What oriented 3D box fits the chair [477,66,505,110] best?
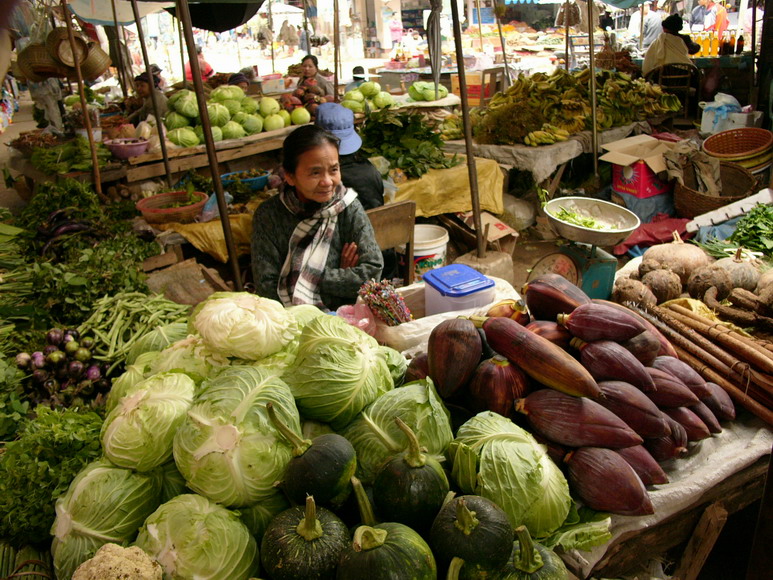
[{"bbox_3d":[1.978,-3.685,9.455,0.426,0.602,2.169,1,18,13],"label":"chair"}]

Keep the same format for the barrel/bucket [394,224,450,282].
[{"bbox_3d":[0.354,-0.417,5.101,0.531,0.501,0.535,-1,21,0],"label":"barrel/bucket"}]

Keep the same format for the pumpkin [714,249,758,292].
[{"bbox_3d":[2.548,-0.131,3.726,0.254,0.258,0.256,-12,23,-35],"label":"pumpkin"}]

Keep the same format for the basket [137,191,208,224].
[{"bbox_3d":[-2.111,-0.817,5.002,0.459,0.169,0.454,-15,26,-25],"label":"basket"}]

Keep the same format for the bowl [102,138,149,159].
[{"bbox_3d":[-2.941,-1.587,5.806,0.454,0.222,0.304,-8,18,-18],"label":"bowl"}]

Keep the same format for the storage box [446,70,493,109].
[{"bbox_3d":[1.636,-3.491,9.214,0.684,0.563,0.889,-16,7,-35],"label":"storage box"}]

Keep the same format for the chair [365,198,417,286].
[{"bbox_3d":[0.028,-0.369,4.047,0.401,0.614,0.431,-3,23,-23],"label":"chair"}]
